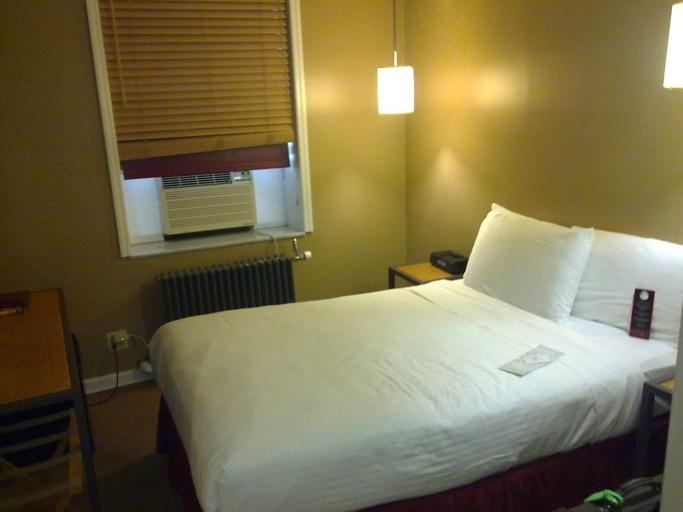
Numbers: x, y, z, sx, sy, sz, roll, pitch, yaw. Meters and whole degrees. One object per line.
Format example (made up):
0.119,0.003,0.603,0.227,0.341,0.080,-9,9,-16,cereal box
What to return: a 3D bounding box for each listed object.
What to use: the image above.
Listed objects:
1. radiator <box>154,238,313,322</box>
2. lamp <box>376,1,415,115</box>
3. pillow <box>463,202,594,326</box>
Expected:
-0.797,0.193,3.871,0.911,0.469,0.354,-4,15,-29,radiator
0.397,-1.501,3.874,0.285,0.892,0.796,-2,12,8,lamp
1.059,0.021,3.016,0.395,0.585,0.686,-4,15,-18,pillow
